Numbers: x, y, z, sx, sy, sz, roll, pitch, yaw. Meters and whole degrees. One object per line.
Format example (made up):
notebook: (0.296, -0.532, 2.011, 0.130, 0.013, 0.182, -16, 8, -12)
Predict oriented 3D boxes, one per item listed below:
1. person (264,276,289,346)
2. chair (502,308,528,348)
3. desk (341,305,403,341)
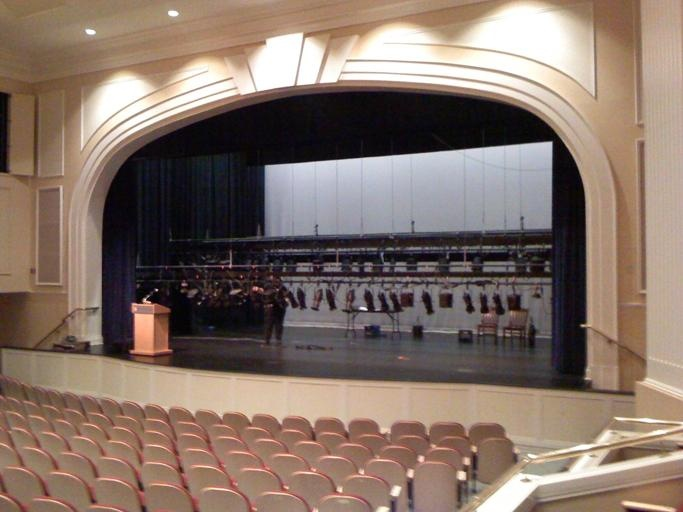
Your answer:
person: (-1.253, 1.034, 12.171, 0.420, 1.338, 0.463, 0, -1, -8)
chair: (3.444, 1.389, 12.344, 0.524, 0.614, 0.902, 0, -1, 17)
desk: (0.658, 1.373, 13.450, 1.255, 0.608, 1.079, 0, -1, 8)
